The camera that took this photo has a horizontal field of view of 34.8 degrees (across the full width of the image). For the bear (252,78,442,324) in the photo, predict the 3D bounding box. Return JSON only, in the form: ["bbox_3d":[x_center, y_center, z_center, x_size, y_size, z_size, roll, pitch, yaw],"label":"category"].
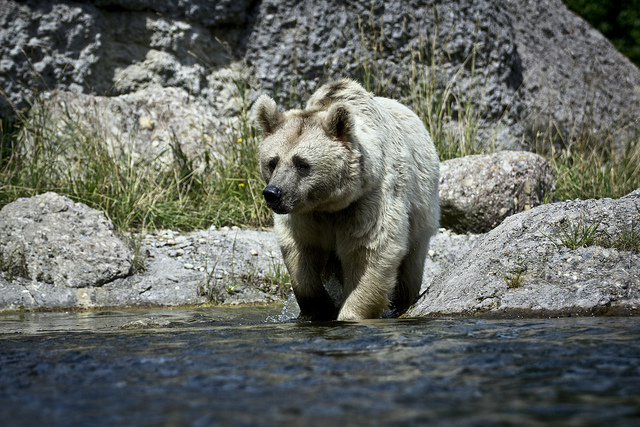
[{"bbox_3d":[0.323,0.029,13.149,1.979,3.014,3.885,4,1,21],"label":"bear"}]
